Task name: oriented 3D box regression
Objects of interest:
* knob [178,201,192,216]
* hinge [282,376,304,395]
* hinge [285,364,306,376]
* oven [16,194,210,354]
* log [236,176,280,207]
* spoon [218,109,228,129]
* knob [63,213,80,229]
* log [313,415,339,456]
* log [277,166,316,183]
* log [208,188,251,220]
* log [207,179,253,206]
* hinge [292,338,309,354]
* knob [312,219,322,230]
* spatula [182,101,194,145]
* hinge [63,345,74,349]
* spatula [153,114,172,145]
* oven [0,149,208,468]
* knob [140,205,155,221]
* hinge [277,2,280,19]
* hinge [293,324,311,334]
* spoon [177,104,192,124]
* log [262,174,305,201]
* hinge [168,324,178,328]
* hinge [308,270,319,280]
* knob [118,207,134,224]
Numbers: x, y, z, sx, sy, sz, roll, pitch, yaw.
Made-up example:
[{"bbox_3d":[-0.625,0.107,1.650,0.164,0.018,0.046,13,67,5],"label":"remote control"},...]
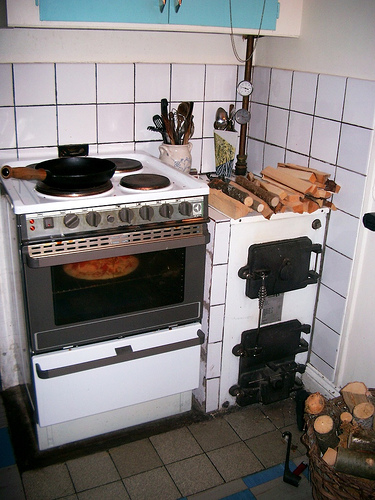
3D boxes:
[{"bbox_3d":[-0.009,-0.131,1.257,0.034,0.045,0.025,-12,36,-28],"label":"knob"},{"bbox_3d":[0.457,0.578,1.698,0.080,0.022,0.056,-19,20,-28],"label":"hinge"},{"bbox_3d":[0.458,0.501,1.653,0.075,0.018,0.049,-14,21,-24],"label":"hinge"},{"bbox_3d":[-0.291,0.095,1.373,0.635,0.499,0.417,-7,8,-37],"label":"oven"},{"bbox_3d":[0.254,-0.229,1.494,0.053,0.043,0.257,25,13,-26],"label":"log"},{"bbox_3d":[0.154,-0.574,1.742,0.031,0.092,0.022,1,-8,6],"label":"spoon"},{"bbox_3d":[-0.313,-0.079,1.079,0.047,0.042,0.011,-11,20,-40],"label":"knob"},{"bbox_3d":[0.377,0.522,1.117,0.076,0.106,0.075,14,39,30],"label":"log"},{"bbox_3d":[0.413,-0.287,1.509,0.060,0.044,0.203,-2,15,-14],"label":"log"},{"bbox_3d":[0.151,-0.175,1.430,0.132,0.035,0.126,37,28,30],"label":"log"},{"bbox_3d":[0.155,-0.217,1.451,0.054,0.050,0.263,-7,31,-35],"label":"log"},{"bbox_3d":[0.477,0.407,1.711,0.060,0.061,0.062,-4,25,-11],"label":"hinge"},{"bbox_3d":[0.498,-0.099,1.524,0.034,0.032,0.010,-1,16,-25],"label":"knob"},{"bbox_3d":[0.004,-0.531,1.624,0.020,0.213,0.026,15,14,17],"label":"spatula"},{"bbox_3d":[-0.375,0.305,1.243,0.036,0.009,0.006,-11,25,-26],"label":"hinge"},{"bbox_3d":[-0.112,-0.513,1.644,0.043,0.161,0.028,-23,-14,14],"label":"spatula"},{"bbox_3d":[-0.262,0.217,1.416,0.683,1.012,0.376,-7,17,-30],"label":"oven"},{"bbox_3d":[-0.118,-0.111,1.200,0.056,0.050,0.020,-12,20,-42],"label":"knob"},{"bbox_3d":[0.345,-0.906,1.501,0.003,0.053,0.016,14,19,38],"label":"hinge"},{"bbox_3d":[0.481,0.332,1.666,0.050,0.049,0.013,38,-8,-39],"label":"hinge"},{"bbox_3d":[-0.014,-0.565,1.647,0.055,0.081,0.088,1,15,-4],"label":"spoon"},{"bbox_3d":[0.352,-0.239,1.523,0.055,0.033,0.209,-10,40,-43],"label":"log"},{"bbox_3d":[-0.050,0.270,1.415,0.040,0.006,0.003,-3,11,-36],"label":"hinge"},{"bbox_3d":[0.499,0.100,1.571,0.038,0.022,0.037,-9,32,-17],"label":"hinge"},{"bbox_3d":[-0.179,-0.101,1.157,0.033,0.043,0.010,-8,20,-24],"label":"knob"}]
